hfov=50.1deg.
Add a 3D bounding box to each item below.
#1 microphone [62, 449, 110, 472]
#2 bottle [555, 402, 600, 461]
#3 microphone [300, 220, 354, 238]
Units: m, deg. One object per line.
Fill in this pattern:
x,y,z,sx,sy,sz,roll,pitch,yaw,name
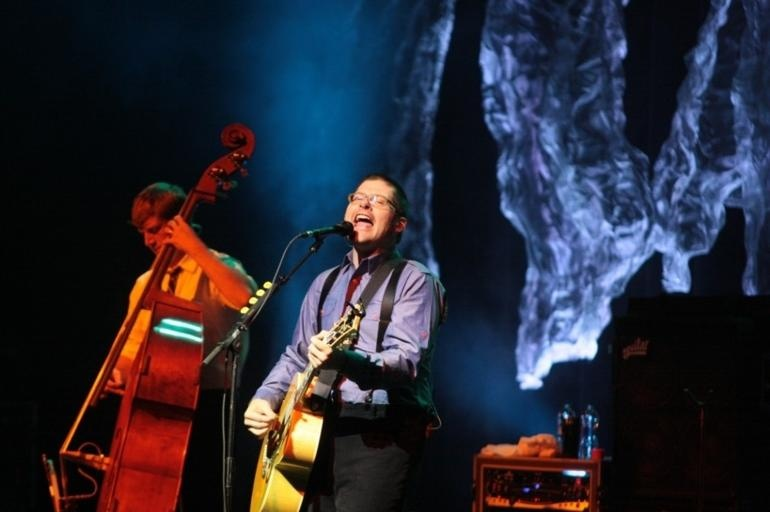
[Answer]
-2.005,1.401,5.630,0.437,0.128,0.171,-5,-22,24,microphone
1.391,1.249,5.867,0.331,0.552,0.325,4,-13,1,bottle
-0.358,-0.140,4.757,0.359,0.096,0.114,-3,8,-20,microphone
